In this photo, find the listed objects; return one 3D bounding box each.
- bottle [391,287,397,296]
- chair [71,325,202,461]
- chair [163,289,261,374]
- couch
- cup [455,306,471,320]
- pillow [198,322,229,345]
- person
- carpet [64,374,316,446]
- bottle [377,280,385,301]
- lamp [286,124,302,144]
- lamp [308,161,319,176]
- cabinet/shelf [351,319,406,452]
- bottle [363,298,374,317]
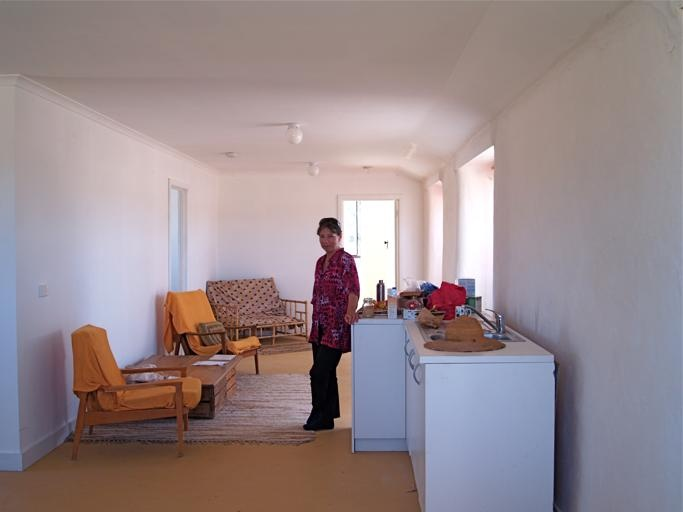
[{"bbox_3d":[0.462,0.314,4.516,0.049,0.061,0.148,-2,-10,6],"label":"bottle"},{"bbox_3d":[-1.775,1.100,4.556,1.040,1.041,0.699,1,2,-17],"label":"chair"},{"bbox_3d":[-1.546,0.961,6.686,1.165,1.143,0.981,-2,-7,15],"label":"chair"},{"bbox_3d":[-1.389,0.922,8.399,1.125,0.983,1.564,3,2,37],"label":"couch"},{"bbox_3d":[0.946,0.432,4.017,0.136,0.101,0.135,1,-10,0],"label":"cup"},{"bbox_3d":[-1.641,0.942,6.378,0.308,0.295,0.091,-1,-13,-42],"label":"pillow"},{"bbox_3d":[-0.104,0.632,4.509,0.541,1.923,0.408,1,7,14],"label":"person"},{"bbox_3d":[-1.279,1.680,5.216,2.102,0.027,2.349,4,-12,6],"label":"carpet"},{"bbox_3d":[0.347,0.308,4.552,0.066,0.160,0.194,-1,6,2],"label":"bottle"},{"bbox_3d":[-0.476,-1.274,5.301,0.201,0.237,0.204,0,3,4],"label":"lamp"},{"bbox_3d":[-0.429,-1.309,7.695,0.196,0.237,0.196,-2,5,-10],"label":"lamp"},{"bbox_3d":[0.305,1.011,4.223,0.414,0.967,0.159,0,7,10],"label":"cabinet/shelf"},{"bbox_3d":[0.217,0.434,4.334,0.105,0.145,0.144,1,-4,-4],"label":"bottle"}]
